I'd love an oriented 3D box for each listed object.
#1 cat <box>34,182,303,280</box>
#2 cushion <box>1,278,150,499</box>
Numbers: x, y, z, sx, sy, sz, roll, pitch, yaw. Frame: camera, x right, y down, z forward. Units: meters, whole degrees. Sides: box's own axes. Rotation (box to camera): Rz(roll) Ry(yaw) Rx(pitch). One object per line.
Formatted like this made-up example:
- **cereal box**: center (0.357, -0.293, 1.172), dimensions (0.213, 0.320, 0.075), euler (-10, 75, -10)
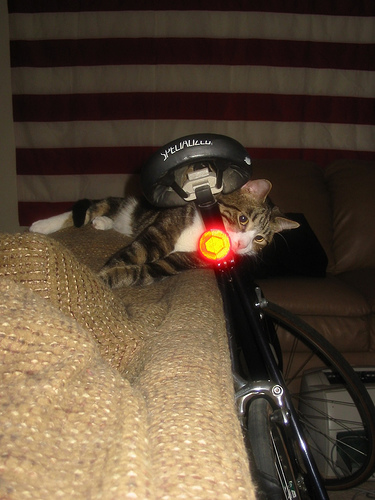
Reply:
- **cat**: center (-0.008, -0.044, 1.163), dimensions (0.492, 0.150, 0.249), euler (12, 30, 37)
- **cushion**: center (-0.110, 0.115, 0.387), dimensions (0.116, 0.046, 0.150), euler (17, 27, -50)
